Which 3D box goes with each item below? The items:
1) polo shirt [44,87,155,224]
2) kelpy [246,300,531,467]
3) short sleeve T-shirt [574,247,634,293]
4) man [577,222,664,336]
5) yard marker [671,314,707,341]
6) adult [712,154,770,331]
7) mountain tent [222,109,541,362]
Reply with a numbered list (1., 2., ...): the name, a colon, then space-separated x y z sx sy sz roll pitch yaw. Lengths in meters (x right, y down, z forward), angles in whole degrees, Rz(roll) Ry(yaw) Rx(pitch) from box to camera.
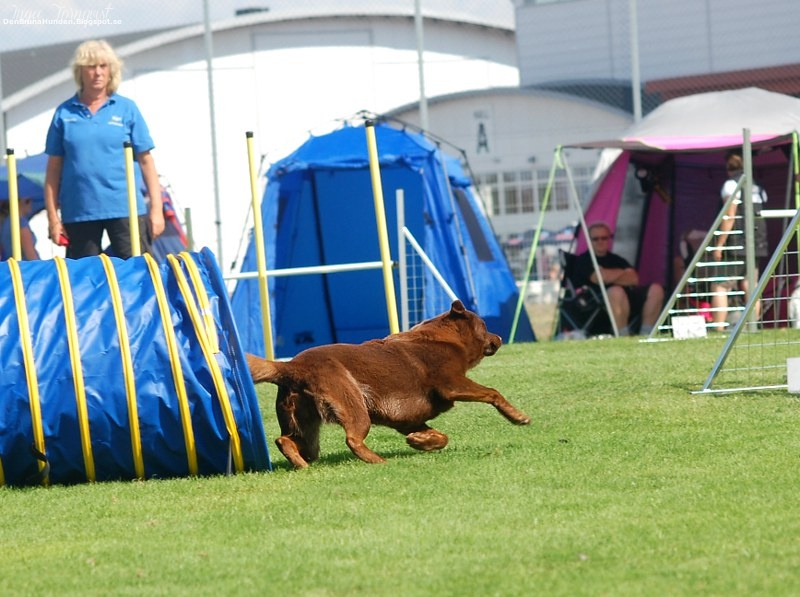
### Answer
1. polo shirt: -2.451 -1.159 13.542 0.837 1.001 0.401 -5 15 -12
2. kelpy: -0.150 0.690 12.206 2.354 1.169 0.707 -8 -7 -30
3. short sleeve T-shirt: 2.124 -0.328 17.528 0.614 0.377 0.259 -12 17 -34
4. man: 2.298 -0.127 17.627 0.763 1.425 0.832 -8 -2 -22
5. yard marker: 2.871 0.271 16.439 0.371 0.257 0.209 0 -6 -11
6. adult: 3.502 -0.600 17.073 0.564 1.727 1.808 2 15 12
7. mountain tent: -0.123 -0.754 17.635 2.527 2.095 2.779 1 5 43
